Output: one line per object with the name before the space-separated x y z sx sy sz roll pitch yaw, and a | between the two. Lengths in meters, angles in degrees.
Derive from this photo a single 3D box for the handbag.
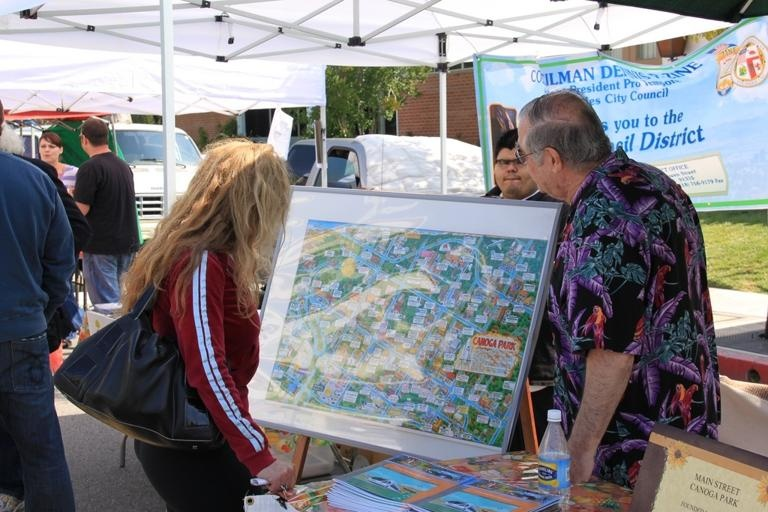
handbag | -1.006 0.399 2.820 0.686 0.722 0.344 20 4 31

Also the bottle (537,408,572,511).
bottle | 0.634 0.754 2.455 0.113 0.341 0.142 1 10 13

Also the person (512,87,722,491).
person | 1.015 0.114 2.738 0.816 1.615 0.491 -2 10 -5

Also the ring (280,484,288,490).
ring | -0.416 0.937 2.677 0.024 0.023 0.007 11 -13 -9

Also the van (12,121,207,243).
van | -5.487 -2.107 13.187 3.583 1.812 1.965 32 24 33
